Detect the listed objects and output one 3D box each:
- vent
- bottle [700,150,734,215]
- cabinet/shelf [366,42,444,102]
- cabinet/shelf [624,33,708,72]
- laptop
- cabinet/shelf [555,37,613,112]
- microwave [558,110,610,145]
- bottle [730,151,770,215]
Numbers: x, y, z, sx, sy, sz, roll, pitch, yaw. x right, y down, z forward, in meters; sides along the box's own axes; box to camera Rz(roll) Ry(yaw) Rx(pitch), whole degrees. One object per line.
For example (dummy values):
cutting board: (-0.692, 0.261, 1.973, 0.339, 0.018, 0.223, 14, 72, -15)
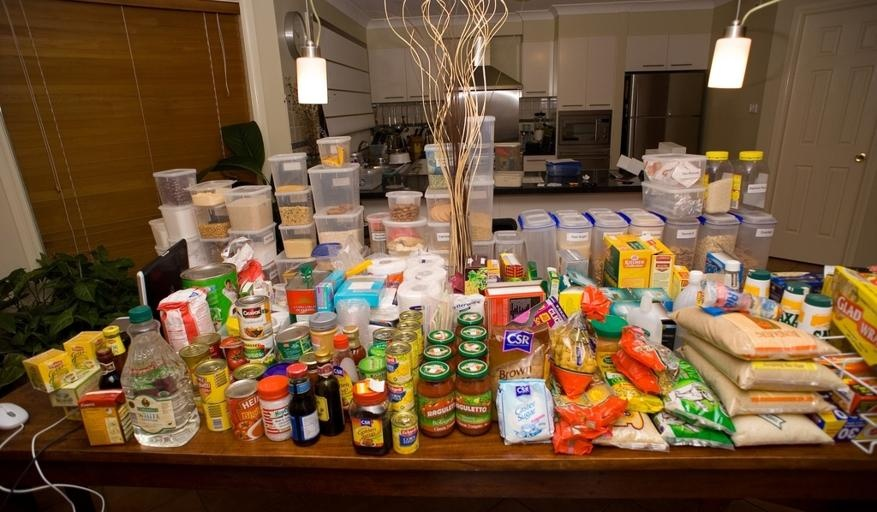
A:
vent: (0.812, -2.585, 7.161, 0.593, 0.733, 0.709, 0, 20, 7)
bottle: (1.750, -0.461, 3.349, 0.182, 0.345, 0.311, 7, 21, 24)
cabinet/shelf: (-0.602, -2.519, 7.467, 0.708, 0.737, 0.166, 4, 21, 16)
cabinet/shelf: (3.090, -2.724, 7.035, 1.119, 0.472, 0.368, 17, 43, 39)
laptop: (-1.737, 0.178, 3.198, 0.352, 0.349, 0.464, 11, 28, 3)
cabinet/shelf: (2.171, -2.460, 7.221, 0.953, 0.966, 0.614, 18, 33, 42)
microwave: (2.010, -1.726, 7.432, 0.784, 0.443, 0.456, 2, 17, 7)
bottle: (1.992, -0.478, 3.454, 0.252, 0.321, 0.244, -1, 12, 0)
